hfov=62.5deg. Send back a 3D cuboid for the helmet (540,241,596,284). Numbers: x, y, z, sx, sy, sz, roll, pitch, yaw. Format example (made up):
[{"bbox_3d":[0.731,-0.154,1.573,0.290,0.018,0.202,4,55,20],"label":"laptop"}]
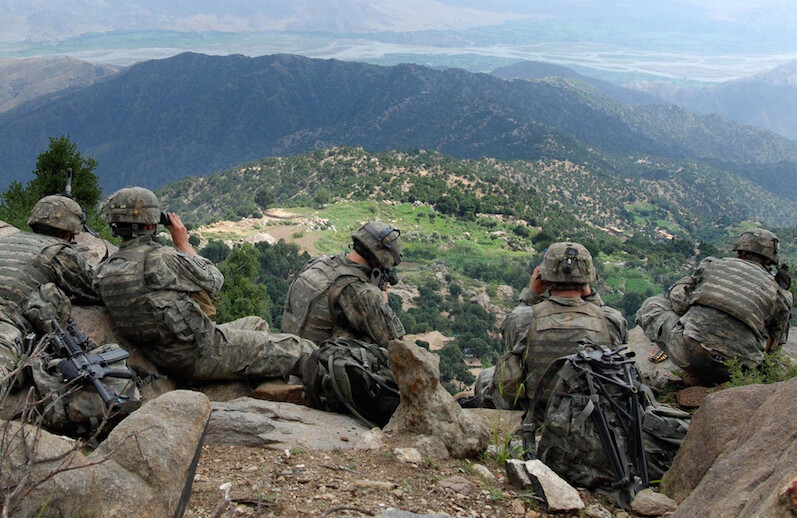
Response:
[{"bbox_3d":[2.166,0.056,8.566,0.584,0.427,0.591,1,-8,-4],"label":"helmet"}]

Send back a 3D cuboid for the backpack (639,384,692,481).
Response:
[{"bbox_3d":[2.894,1.950,7.226,0.741,0.980,0.394,35,-31,-33],"label":"backpack"}]

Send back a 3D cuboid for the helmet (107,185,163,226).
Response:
[{"bbox_3d":[-3.363,-0.652,8.424,0.557,0.377,0.574,2,2,-15],"label":"helmet"}]

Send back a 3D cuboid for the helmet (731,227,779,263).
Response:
[{"bbox_3d":[5.038,-0.206,9.384,0.599,0.449,0.450,3,9,-10],"label":"helmet"}]

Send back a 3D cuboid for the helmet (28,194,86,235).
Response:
[{"bbox_3d":[-4.468,-0.621,8.670,0.491,0.505,0.599,14,18,7],"label":"helmet"}]
